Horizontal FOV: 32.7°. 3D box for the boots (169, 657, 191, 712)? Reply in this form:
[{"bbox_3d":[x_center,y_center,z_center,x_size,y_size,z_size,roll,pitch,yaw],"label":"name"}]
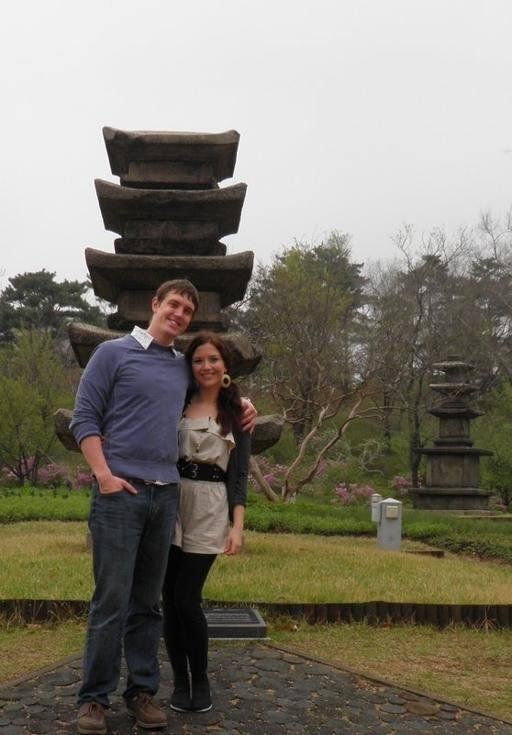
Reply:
[{"bbox_3d":[-0.357,1.505,4.144,0.118,0.220,0.255,-2,4,-5],"label":"boots"}]

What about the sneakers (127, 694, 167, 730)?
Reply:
[{"bbox_3d":[-0.471,1.521,3.840,0.092,0.086,0.214,9,-15,-36],"label":"sneakers"}]

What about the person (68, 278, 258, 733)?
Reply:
[{"bbox_3d":[-0.528,0.562,3.993,0.388,2.050,0.600,-2,-6,42],"label":"person"}]
